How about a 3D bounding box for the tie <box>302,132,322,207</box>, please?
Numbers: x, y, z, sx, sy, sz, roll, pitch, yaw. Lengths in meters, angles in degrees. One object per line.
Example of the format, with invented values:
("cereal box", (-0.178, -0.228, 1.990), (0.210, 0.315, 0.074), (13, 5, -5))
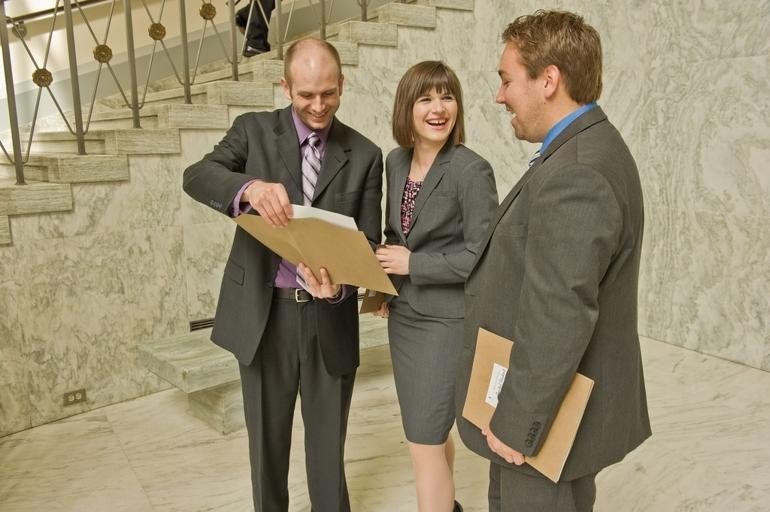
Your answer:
("tie", (-0.366, -0.431, 3.231), (0.100, 0.355, 0.114), (-1, 9, -7))
